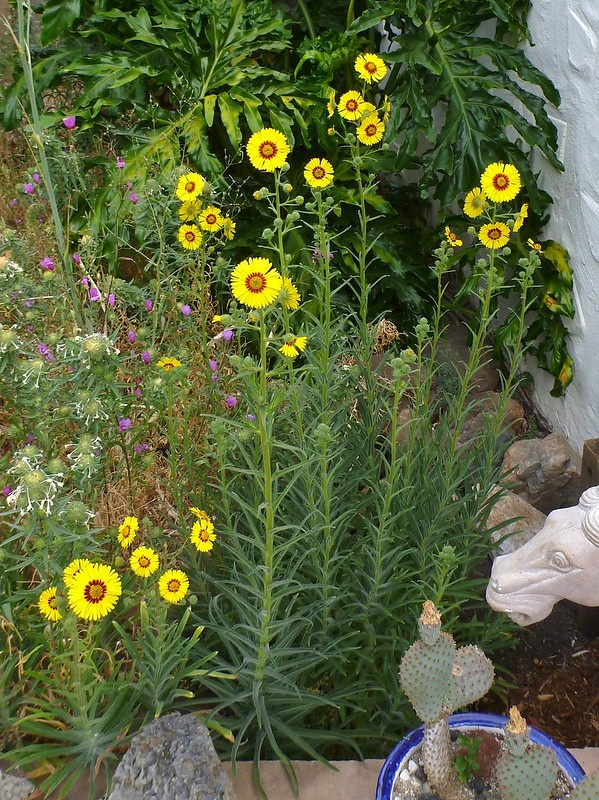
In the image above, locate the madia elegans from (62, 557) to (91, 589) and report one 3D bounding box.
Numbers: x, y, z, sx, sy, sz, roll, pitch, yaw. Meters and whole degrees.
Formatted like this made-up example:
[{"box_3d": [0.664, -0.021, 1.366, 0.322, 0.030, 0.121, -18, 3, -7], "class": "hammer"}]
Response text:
[{"box_3d": [-0.274, 0.209, 0.866, 0.040, 0.017, 0.038, -39, 43, 11], "class": "madia elegans"}]
